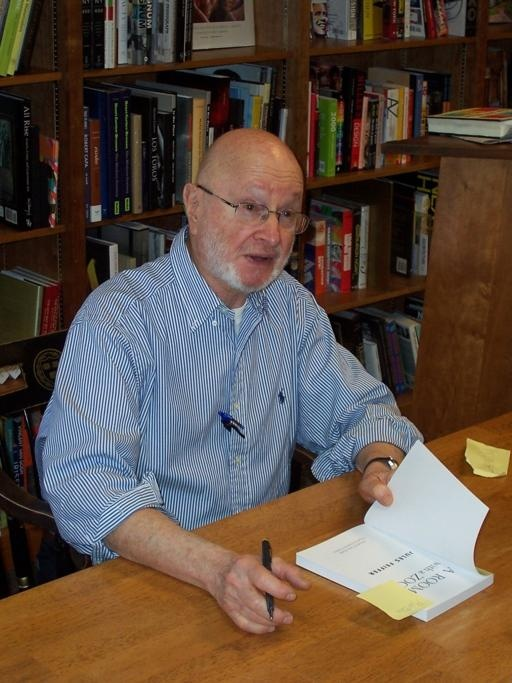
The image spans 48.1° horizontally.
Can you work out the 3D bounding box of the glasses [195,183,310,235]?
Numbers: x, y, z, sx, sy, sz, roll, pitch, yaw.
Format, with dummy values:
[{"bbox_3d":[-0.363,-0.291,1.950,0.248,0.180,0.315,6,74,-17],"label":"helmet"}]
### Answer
[{"bbox_3d":[0.016,-0.282,1.105,0.133,0.039,0.135,37,21,35],"label":"glasses"}]
